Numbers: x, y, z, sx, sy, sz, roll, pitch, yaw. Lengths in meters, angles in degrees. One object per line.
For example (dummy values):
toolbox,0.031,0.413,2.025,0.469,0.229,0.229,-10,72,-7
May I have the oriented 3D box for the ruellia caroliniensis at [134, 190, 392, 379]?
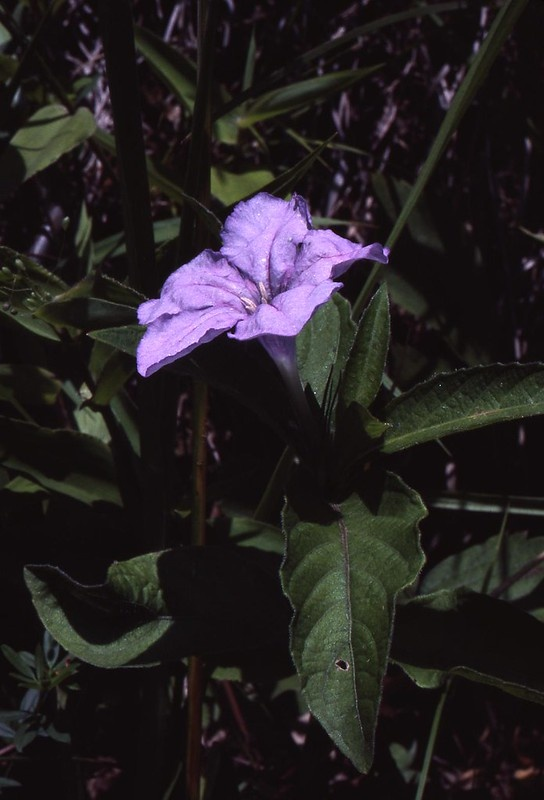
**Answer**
ruellia caroliniensis,-0.030,-0.109,0.716,0.249,0.098,0.205,-31,41,-29
